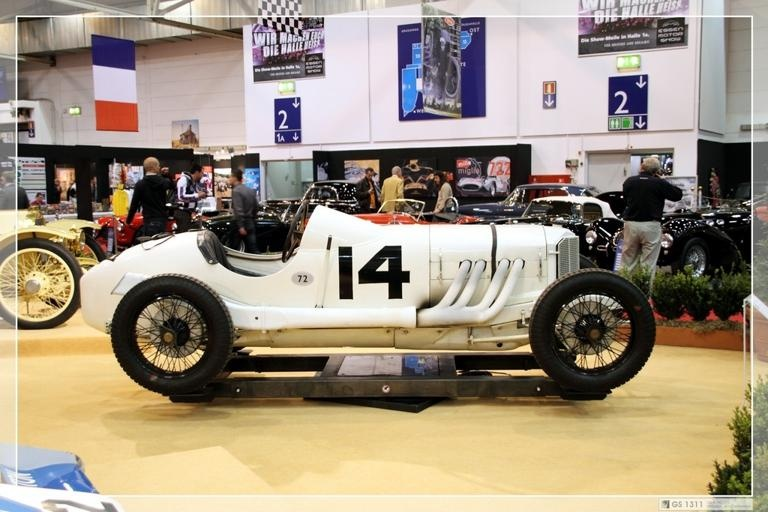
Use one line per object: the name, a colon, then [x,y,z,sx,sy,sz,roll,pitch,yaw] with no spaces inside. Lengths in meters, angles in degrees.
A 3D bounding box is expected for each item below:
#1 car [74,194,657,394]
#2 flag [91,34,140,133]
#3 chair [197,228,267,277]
car: [-0.128,0.429,6.450,4.536,1.521,2.371,-1,4,2]
flag: [-5.546,-3.554,12.551,0.847,1.900,0.835,-6,12,-25]
chair: [-1.643,-0.041,6.350,0.579,0.231,0.432,21,14,-14]
